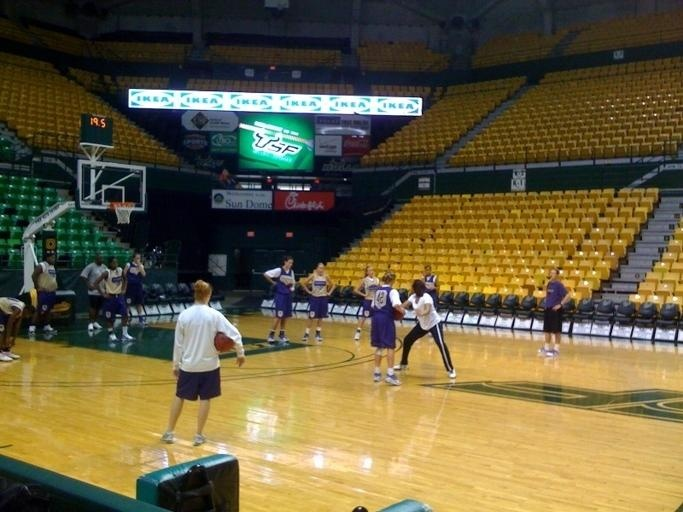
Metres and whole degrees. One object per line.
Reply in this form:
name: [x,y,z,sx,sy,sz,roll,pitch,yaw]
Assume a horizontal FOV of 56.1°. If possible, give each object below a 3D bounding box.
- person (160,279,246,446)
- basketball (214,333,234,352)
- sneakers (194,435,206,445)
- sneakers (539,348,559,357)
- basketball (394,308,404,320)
person: [-1.741,1.350,8.044,1.008,2.060,0.528,2,-4,10]
basketball: [-1.448,1.059,7.795,0.229,0.209,0.170,8,-1,-25]
sneakers: [-1.791,2.316,8.070,0.068,0.082,0.188,4,7,12]
sneakers: [4.135,1.959,12.937,0.144,0.175,0.438,2,-9,-4]
basketball: [0.898,0.922,10.196,0.157,0.156,0.157,-2,5,-28]
